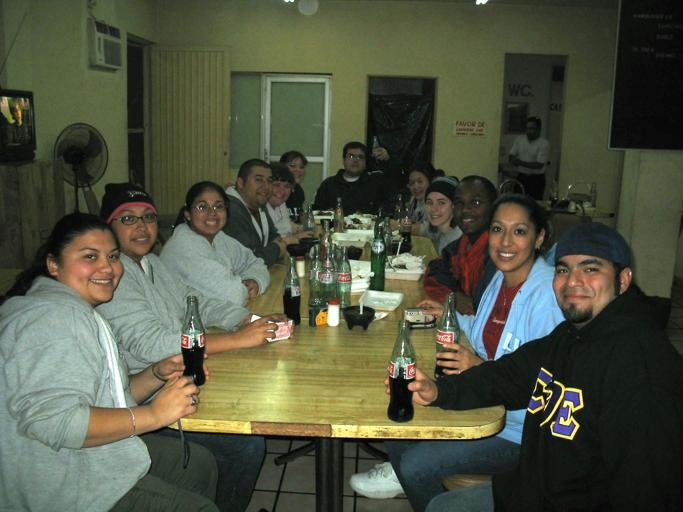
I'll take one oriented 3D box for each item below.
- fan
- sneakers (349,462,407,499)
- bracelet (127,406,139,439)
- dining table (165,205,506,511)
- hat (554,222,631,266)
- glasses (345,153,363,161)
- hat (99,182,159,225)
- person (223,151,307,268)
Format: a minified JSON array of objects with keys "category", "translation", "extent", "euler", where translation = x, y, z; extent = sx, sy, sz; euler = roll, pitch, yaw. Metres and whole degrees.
[{"category":"fan","translation":[-2.462,-0.802,6.148],"extent":[0.448,0.871,0.740],"euler":[-5,11,-19]},{"category":"sneakers","translation":[0.188,1.159,3.374],"extent":[0.371,0.167,0.139],"euler":[1,12,-2]},{"category":"bracelet","translation":[-0.793,0.634,2.449],"extent":[0.022,0.081,0.075],"euler":[-3,-2,-27]},{"category":"dining table","translation":[-0.144,0.293,2.756],"extent":[1.376,0.666,0.731],"euler":[0,19,-3]},{"category":"hat","translation":[1.025,-0.027,2.605],"extent":[0.212,0.130,0.205],"euler":[14,-11,-22]},{"category":"glasses","translation":[0.140,-1.077,7.065],"extent":[0.161,0.066,0.042],"euler":[-1,11,1]},{"category":"hat","translation":[-1.099,-0.262,3.248],"extent":[0.220,0.170,0.170],"euler":[6,-9,-32]},{"category":"person","translation":[-0.658,-0.337,4.810],"extent":[0.791,0.909,0.610],"euler":[4,22,-2]}]
